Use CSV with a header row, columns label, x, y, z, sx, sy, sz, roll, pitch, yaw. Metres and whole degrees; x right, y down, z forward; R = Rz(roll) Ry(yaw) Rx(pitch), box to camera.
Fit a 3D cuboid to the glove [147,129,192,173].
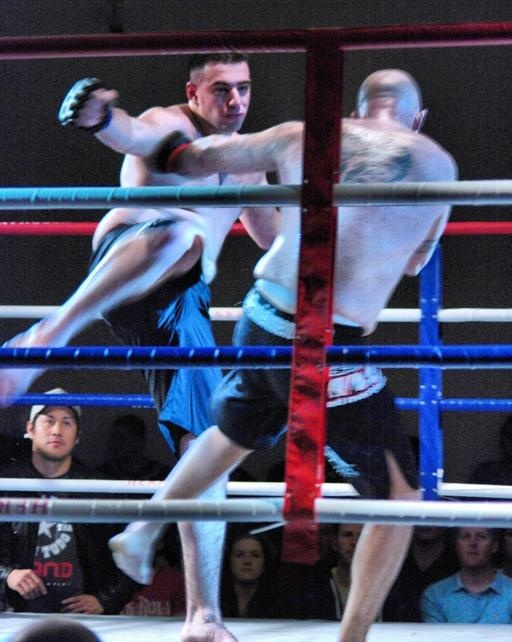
label,x,y,z,sx,sy,sz,roll,pitch,yaw
glove,-0.179,-0.372,2.563,0.025,0.097,0.103,48,-4,8
